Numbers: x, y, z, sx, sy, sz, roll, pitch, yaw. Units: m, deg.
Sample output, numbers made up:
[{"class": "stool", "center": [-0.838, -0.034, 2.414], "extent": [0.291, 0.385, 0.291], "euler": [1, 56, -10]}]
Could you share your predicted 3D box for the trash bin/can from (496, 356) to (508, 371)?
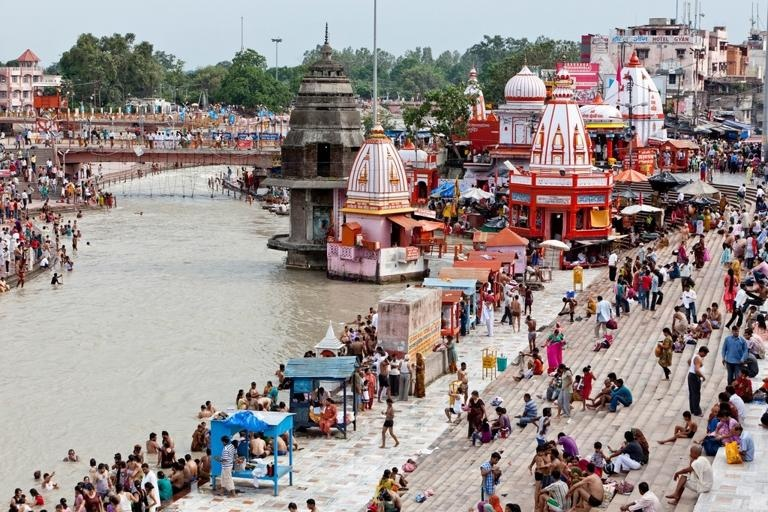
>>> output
[{"class": "trash bin/can", "center": [4.109, 3.702, 48.360], "extent": [0.458, 0.461, 0.449], "euler": [1, 8, 16]}]

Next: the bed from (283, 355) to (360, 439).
[{"class": "bed", "center": [-1.973, 4.473, 44.698], "extent": [2.310, 2.466, 1.814], "euler": [1, -1, 15]}]

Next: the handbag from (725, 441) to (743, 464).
[{"class": "handbag", "center": [9.829, 5.521, 39.107], "extent": [0.459, 0.589, 0.275], "euler": [1, 9, 15]}]

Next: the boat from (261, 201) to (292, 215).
[{"class": "boat", "center": [-6.397, -2.889, 82.702], "extent": [1.645, 0.520, 1.251], "euler": [5, 4, 27]}]

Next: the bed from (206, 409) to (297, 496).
[{"class": "bed", "center": [-3.977, 5.815, 41.768], "extent": [2.428, 2.382, 1.470], "euler": [-1, 9, -1]}]

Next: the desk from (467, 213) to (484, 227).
[{"class": "desk", "center": [4.561, -1.849, 69.334], "extent": [0.701, 0.666, 0.692], "euler": [2, 6, 22]}]
